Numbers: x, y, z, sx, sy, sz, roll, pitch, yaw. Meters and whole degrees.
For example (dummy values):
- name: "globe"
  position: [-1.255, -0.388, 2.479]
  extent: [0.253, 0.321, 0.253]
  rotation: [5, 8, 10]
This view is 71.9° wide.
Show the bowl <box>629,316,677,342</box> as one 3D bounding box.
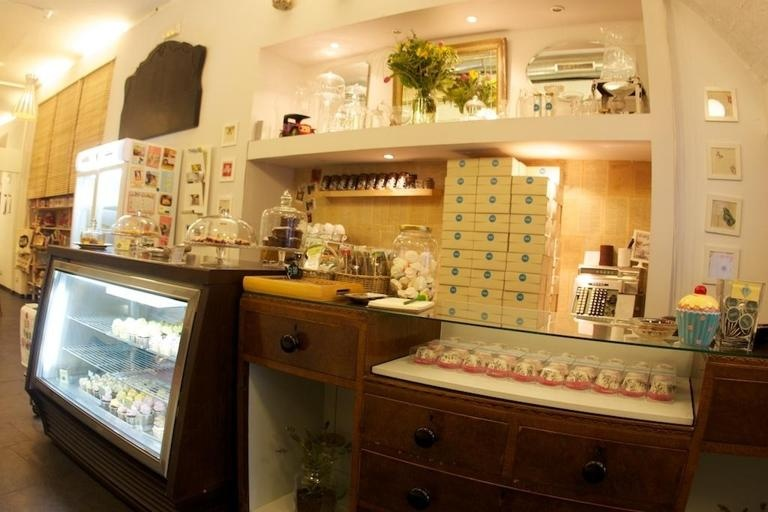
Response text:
- name: "bowl"
  position: [1.284, 0.346, 2.515]
  extent: [0.189, 0.071, 0.222]
  rotation: [2, 0, 20]

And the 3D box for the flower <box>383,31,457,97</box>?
- name: "flower"
  position: [0.363, -1.598, 4.575]
  extent: [0.477, 0.489, 0.511]
  rotation: [-18, -2, -26]

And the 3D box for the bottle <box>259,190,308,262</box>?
- name: "bottle"
  position: [-0.721, -0.201, 3.747]
  extent: [0.306, 0.467, 0.559]
  rotation: [3, 0, -13]

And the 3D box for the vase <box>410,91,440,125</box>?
- name: "vase"
  position: [0.334, -1.246, 4.534]
  extent: [0.266, 0.273, 0.259]
  rotation: [1, -1, -4]

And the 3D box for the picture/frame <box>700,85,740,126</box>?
- name: "picture/frame"
  position: [2.209, -0.990, 3.461]
  extent: [0.290, 0.316, 0.026]
  rotation: [1, -2, 18]

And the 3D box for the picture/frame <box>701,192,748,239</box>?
- name: "picture/frame"
  position: [2.233, -0.264, 3.452]
  extent: [0.301, 0.385, 0.044]
  rotation: [4, -7, 22]

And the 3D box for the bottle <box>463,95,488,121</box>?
- name: "bottle"
  position: [0.741, -1.184, 4.321]
  extent: [0.204, 0.185, 0.200]
  rotation: [1, -4, 0]

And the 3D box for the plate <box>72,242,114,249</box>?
- name: "plate"
  position: [-2.230, -0.075, 4.034]
  extent: [0.188, 0.061, 0.370]
  rotation: [2, 1, -38]

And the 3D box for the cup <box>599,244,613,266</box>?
- name: "cup"
  position: [1.758, -0.006, 4.158]
  extent: [0.139, 0.116, 0.088]
  rotation: [2, 0, 8]

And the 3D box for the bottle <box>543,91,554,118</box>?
- name: "bottle"
  position: [1.230, -1.135, 3.961]
  extent: [0.073, 0.136, 0.081]
  rotation: [2, -1, 42]

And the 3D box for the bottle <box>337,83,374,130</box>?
- name: "bottle"
  position: [-0.311, -1.461, 5.088]
  extent: [0.306, 0.460, 0.857]
  rotation: [2, 0, -4]

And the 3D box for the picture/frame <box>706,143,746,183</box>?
- name: "picture/frame"
  position: [2.241, -0.609, 3.455]
  extent: [0.252, 0.297, 0.022]
  rotation: [5, -6, 21]

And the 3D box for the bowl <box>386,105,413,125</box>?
- name: "bowl"
  position: [0.132, -1.190, 4.497]
  extent: [0.211, 0.154, 0.162]
  rotation: [2, 0, 12]

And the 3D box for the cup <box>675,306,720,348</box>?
- name: "cup"
  position: [1.409, 0.324, 2.391]
  extent: [0.164, 0.187, 0.178]
  rotation: [3, -4, 0]

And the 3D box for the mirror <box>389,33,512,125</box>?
- name: "mirror"
  position: [0.606, -1.516, 4.530]
  extent: [1.034, 0.938, 0.520]
  rotation: [3, 0, 9]

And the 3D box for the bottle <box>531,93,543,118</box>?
- name: "bottle"
  position: [1.155, -1.134, 3.966]
  extent: [0.090, 0.132, 0.039]
  rotation: [2, -1, 12]
